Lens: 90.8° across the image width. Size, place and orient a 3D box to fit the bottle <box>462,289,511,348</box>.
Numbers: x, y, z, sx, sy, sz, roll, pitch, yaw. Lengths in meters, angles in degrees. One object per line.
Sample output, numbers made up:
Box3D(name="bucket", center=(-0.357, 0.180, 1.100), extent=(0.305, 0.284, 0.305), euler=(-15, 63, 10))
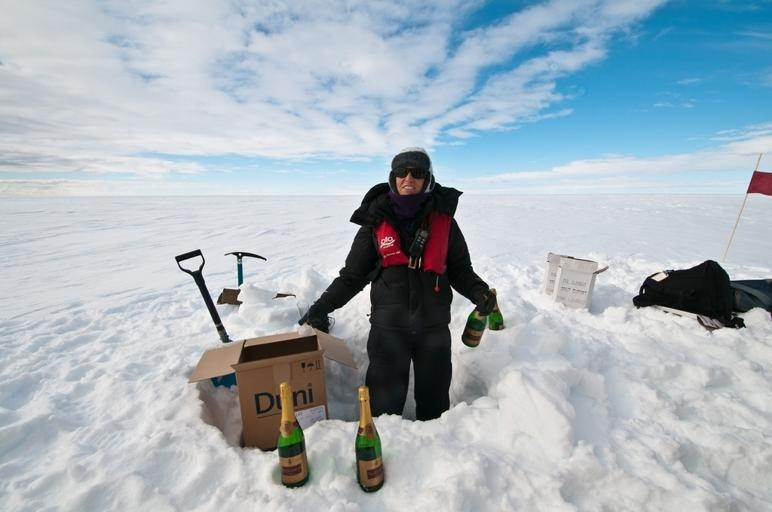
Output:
Box3D(name="bottle", center=(1.234, 0.777, 4.691), extent=(0.357, 0.913, 0.327), euler=(7, 44, -7))

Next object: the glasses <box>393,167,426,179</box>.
Box3D(name="glasses", center=(0.274, -0.946, 4.310), extent=(0.391, 0.118, 0.110), euler=(-1, 11, 1))

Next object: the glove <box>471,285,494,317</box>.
Box3D(name="glove", center=(1.087, 0.480, 4.265), extent=(0.271, 0.359, 0.118), euler=(2, -11, 15))

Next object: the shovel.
Box3D(name="shovel", center=(-2.920, 0.946, 6.175), extent=(0.488, 1.761, 0.253), euler=(-16, -8, -27))

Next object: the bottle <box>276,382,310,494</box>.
Box3D(name="bottle", center=(-0.824, 1.547, 3.377), extent=(0.252, 0.917, 0.247), euler=(-1, 11, 0))
